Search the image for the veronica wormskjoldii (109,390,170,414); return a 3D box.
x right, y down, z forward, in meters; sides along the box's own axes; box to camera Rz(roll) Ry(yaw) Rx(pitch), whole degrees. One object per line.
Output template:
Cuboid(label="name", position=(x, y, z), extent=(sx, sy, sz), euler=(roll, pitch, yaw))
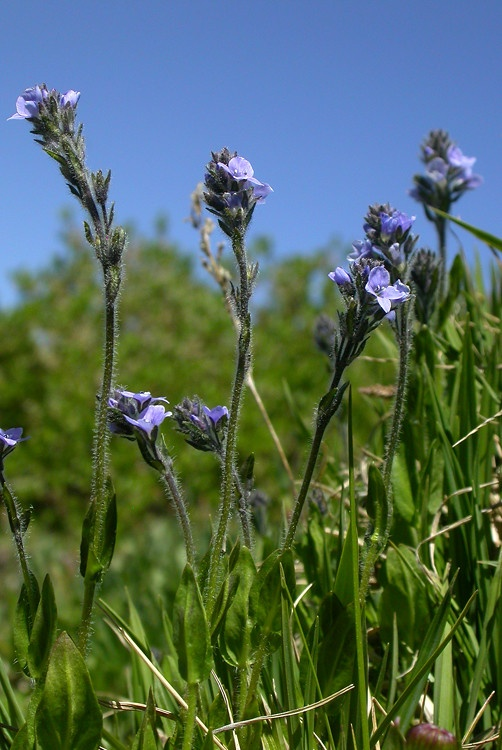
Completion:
Cuboid(label="veronica wormskjoldii", position=(-0.199, 0.046, 1.709), extent=(0.061, 0.029, 0.059), euler=(2, 5, -30))

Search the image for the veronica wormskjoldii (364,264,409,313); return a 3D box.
Cuboid(label="veronica wormskjoldii", position=(0.216, -0.132, 1.561), extent=(0.081, 0.079, 0.037), euler=(14, -37, -20))

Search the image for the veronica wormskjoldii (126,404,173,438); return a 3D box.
Cuboid(label="veronica wormskjoldii", position=(-0.182, 0.076, 1.699), extent=(0.064, 0.043, 0.062), euler=(-1, 10, -25))
